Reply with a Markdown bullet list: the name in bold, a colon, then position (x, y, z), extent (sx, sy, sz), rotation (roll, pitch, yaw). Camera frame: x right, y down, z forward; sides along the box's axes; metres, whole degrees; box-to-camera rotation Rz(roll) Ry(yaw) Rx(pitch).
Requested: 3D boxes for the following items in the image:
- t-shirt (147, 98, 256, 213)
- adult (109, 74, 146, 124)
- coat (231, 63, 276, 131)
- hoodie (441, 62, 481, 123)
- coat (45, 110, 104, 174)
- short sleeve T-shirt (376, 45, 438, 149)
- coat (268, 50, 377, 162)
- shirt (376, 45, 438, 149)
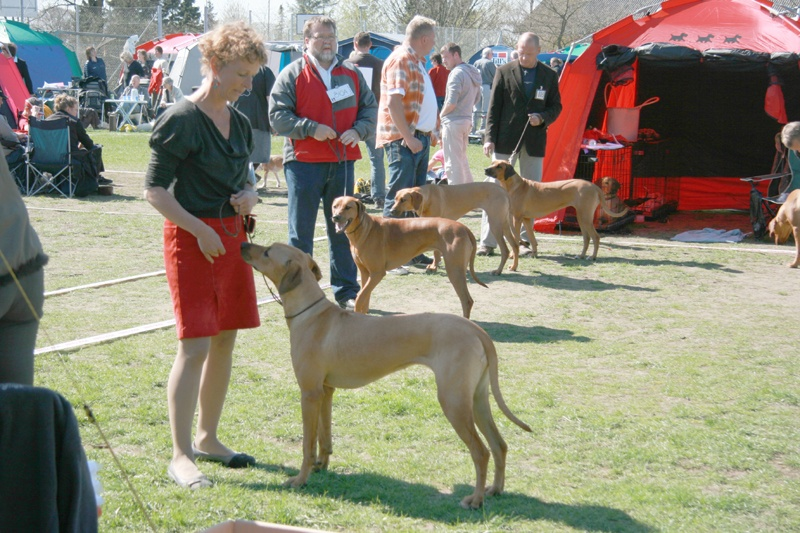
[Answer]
- **t-shirt**: position (-1.469, -0.829, 5.923), extent (0.602, 0.840, 1.067), rotation (3, 6, 27)
- **adult**: position (-8.828, -5.333, 25.590), extent (1.096, 1.764, 1.741), rotation (0, 10, -23)
- **coat**: position (-2.401, -2.979, 13.871), extent (0.412, 1.032, 0.676), rotation (5, 12, -31)
- **hoodie**: position (0.856, -2.513, 11.493), extent (0.604, 0.899, 0.771), rotation (12, 16, 33)
- **coat**: position (-5.792, -2.402, 14.590), extent (0.718, 1.141, 0.852), rotation (12, 14, -41)
- **short sleeve T-shirt**: position (0.115, -2.097, 9.765), extent (0.738, 1.231, 0.600), rotation (1, 9, -14)
- **coat**: position (-0.821, -1.664, 8.385), extent (1.142, 1.137, 0.601), rotation (2, 9, -12)
- **shirt**: position (0.084, -2.205, 9.976), extent (0.749, 1.228, 1.151), rotation (1, 11, 12)
